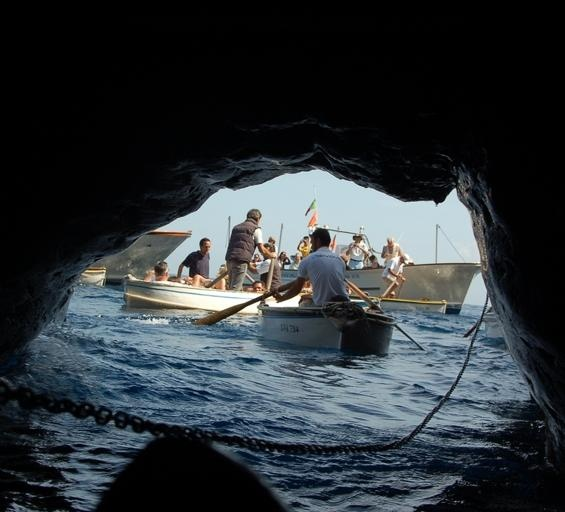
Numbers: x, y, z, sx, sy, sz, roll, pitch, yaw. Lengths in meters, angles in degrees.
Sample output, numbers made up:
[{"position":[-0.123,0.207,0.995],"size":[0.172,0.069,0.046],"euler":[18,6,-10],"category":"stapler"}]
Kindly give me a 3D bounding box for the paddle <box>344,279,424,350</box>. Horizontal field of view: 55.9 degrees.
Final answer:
[{"position":[2.482,1.286,12.234],"size":[2.636,0.273,0.340],"euler":[35,-18,19],"category":"paddle"}]

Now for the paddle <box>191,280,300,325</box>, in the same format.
[{"position":[-0.745,0.852,8.854],"size":[2.705,0.186,0.149],"euler":[-26,-69,42],"category":"paddle"}]

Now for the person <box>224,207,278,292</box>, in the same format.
[{"position":[-0.789,0.065,11.711],"size":[1.074,2.060,0.982],"euler":[12,0,18],"category":"person"}]

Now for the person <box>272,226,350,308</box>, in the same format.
[{"position":[0.551,0.388,8.249],"size":[1.201,1.446,1.142],"euler":[-10,-8,28],"category":"person"}]
